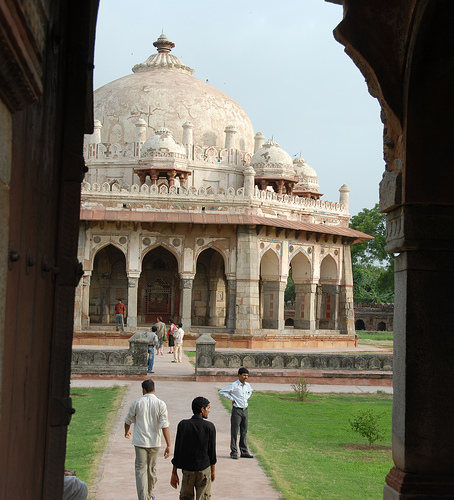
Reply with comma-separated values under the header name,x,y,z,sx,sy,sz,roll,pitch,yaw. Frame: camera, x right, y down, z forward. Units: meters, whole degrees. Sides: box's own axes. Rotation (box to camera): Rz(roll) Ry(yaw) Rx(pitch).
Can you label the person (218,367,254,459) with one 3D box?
name,x,y,z,sx,sy,sz,roll,pitch,yaw
person,0.138,1.606,8.202,0.292,0.855,0.404,1,-2,31
